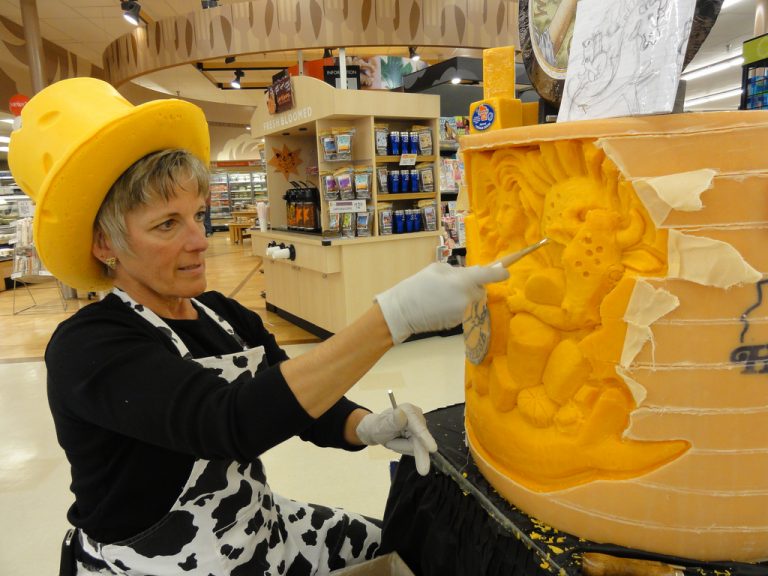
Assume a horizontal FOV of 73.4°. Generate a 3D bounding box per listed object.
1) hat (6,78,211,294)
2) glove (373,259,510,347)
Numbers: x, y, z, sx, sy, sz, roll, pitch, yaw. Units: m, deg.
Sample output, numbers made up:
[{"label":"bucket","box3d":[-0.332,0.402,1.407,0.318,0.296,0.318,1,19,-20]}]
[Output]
[{"label":"hat","box3d":[-0.733,-0.258,1.314,0.512,0.545,0.304,-4,8,-8]},{"label":"glove","box3d":[0.140,0.024,1.217,0.327,0.165,0.091,-6,8,-25]}]
